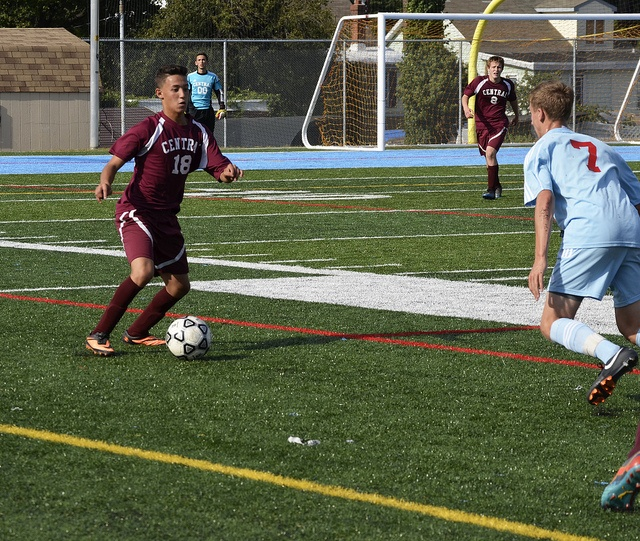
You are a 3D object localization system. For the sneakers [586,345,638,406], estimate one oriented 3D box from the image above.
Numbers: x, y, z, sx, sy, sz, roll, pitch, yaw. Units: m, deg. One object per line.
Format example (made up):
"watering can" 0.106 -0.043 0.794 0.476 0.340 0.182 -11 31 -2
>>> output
"sneakers" 1.370 0.505 4.834 0.099 0.300 0.137 30 13 -22

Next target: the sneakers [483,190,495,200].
"sneakers" 2.491 -1.111 15.178 0.088 0.098 0.208 0 -1 22

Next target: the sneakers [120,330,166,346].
"sneakers" -1.087 0.418 6.315 0.276 0.100 0.104 -1 1 1

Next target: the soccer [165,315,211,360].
"soccer" -0.756 0.389 5.915 0.233 0.234 0.229 0 0 2

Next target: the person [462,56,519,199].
"person" 2.551 -2.182 15.545 0.801 2.139 1.503 2 9 9

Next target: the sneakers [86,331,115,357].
"sneakers" -1.260 0.434 5.980 0.206 0.101 0.083 12 12 39

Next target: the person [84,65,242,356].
"person" -0.954 -0.377 6.181 0.948 1.704 0.546 -3 9 -17
